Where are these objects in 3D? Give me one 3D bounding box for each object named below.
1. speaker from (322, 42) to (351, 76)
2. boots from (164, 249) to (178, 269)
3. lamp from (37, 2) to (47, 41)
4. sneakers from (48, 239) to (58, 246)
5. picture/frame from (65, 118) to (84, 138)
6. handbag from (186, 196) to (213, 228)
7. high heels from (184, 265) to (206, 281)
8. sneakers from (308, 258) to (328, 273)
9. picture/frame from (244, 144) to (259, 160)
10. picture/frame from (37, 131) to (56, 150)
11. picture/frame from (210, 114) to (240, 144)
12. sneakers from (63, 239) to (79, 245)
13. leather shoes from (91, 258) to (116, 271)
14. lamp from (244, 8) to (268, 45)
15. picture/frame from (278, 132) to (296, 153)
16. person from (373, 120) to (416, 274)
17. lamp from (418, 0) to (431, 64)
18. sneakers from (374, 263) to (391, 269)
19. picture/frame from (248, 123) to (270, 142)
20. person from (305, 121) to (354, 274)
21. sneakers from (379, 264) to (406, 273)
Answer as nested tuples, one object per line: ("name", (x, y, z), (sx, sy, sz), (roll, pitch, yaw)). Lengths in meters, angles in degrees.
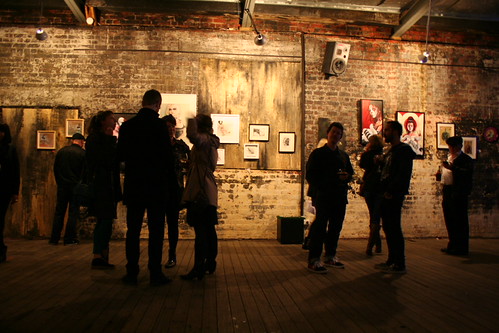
("speaker", (2.052, -2.602, 11.964), (0.592, 0.867, 0.465), (9, 12, -24))
("boots", (-1.410, 1.747, 9.395), (0.173, 0.348, 0.350), (-2, -11, 10))
("lamp", (-4.848, -3.373, 11.528), (0.248, 0.875, 0.412), (-3, 11, -22))
("sneakers", (-4.271, 1.633, 10.796), (0.127, 0.144, 0.138), (-1, -30, -1))
("picture/frame", (-4.089, -0.892, 11.551), (0.429, 0.449, 0.050), (1, 0, -7))
("handbag", (-0.869, 0.781, 8.674), (0.651, 0.528, 0.370), (1, -7, -10))
("high heels", (-0.945, 1.853, 8.650), (0.496, 0.225, 0.170), (3, -5, -4))
("sneakers", (1.254, 1.839, 9.234), (0.168, 0.183, 0.379), (4, -7, -38))
("picture/frame", (0.020, -0.367, 11.803), (0.343, 0.350, 0.035), (1, -2, -5))
("picture/frame", (-4.758, -0.606, 11.556), (0.417, 0.483, 0.051), (0, -5, -9))
("picture/frame", (-0.584, -0.848, 11.283), (0.739, 0.782, 0.032), (0, 2, -1))
("sneakers", (-3.888, 1.621, 10.824), (0.326, 0.156, 0.119), (0, 0, -26))
("leather shoes", (-2.682, 1.783, 9.136), (0.424, 0.191, 0.198), (4, 0, -18))
("lamp", (0.134, -3.258, 11.692), (0.447, 0.800, 0.703), (3, 11, 10))
("picture/frame", (0.871, -0.581, 11.878), (0.466, 0.573, 0.023), (1, -2, -9))
("person", (2.723, 0.542, 9.304), (0.545, 2.698, 0.731), (4, 10, 15))
("lamp", (4.268, -3.234, 12.036), (0.240, 1.440, 1.085), (4, 11, 19))
("sneakers", (2.518, 1.866, 9.445), (0.305, 0.126, 0.117), (2, -7, 7))
("picture/frame", (0.200, -0.807, 11.837), (0.400, 0.338, 0.034), (2, -4, -10))
("person", (1.460, 0.576, 9.297), (0.858, 2.729, 0.631), (-7, 13, -37))
("sneakers", (2.664, 1.888, 9.269), (0.451, 0.188, 0.182), (4, -11, 4))
